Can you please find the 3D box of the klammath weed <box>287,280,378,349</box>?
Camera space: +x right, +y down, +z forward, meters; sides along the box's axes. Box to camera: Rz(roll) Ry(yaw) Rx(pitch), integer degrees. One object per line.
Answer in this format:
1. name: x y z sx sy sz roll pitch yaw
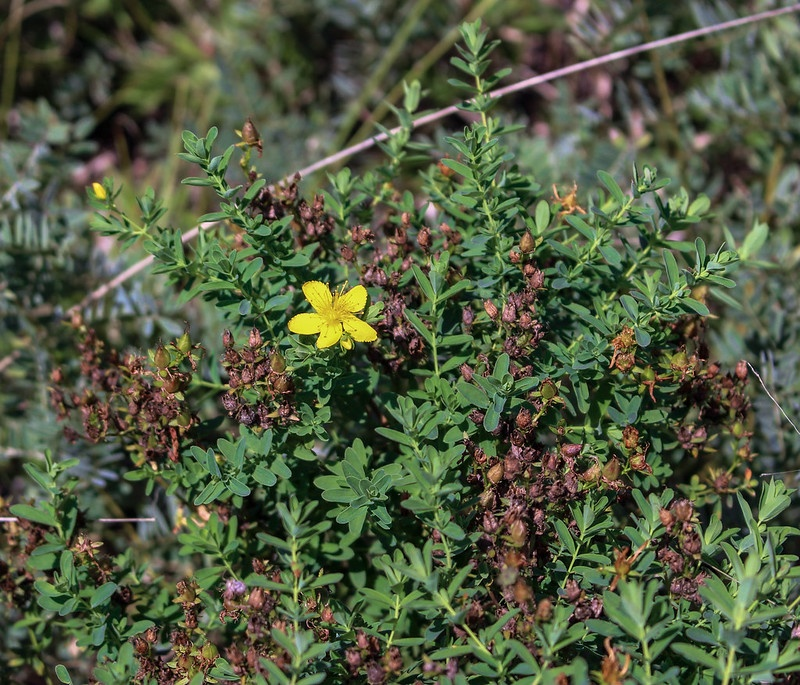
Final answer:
1. klammath weed: -0.181 -0.086 3.208 0.206 0.232 0.066 29 58 -20
